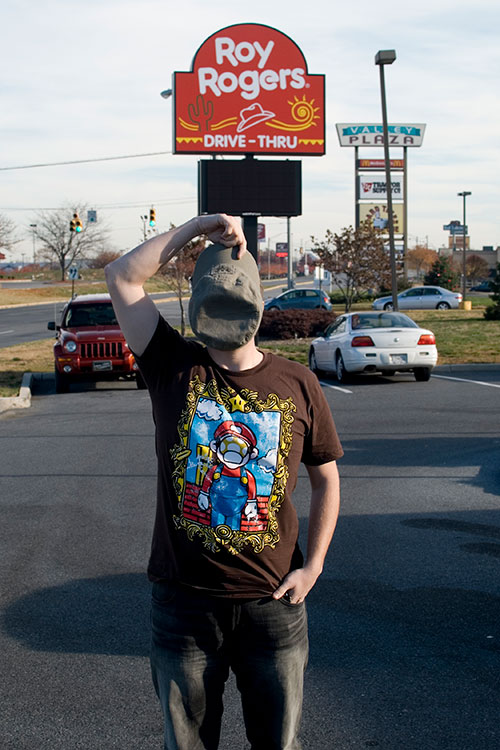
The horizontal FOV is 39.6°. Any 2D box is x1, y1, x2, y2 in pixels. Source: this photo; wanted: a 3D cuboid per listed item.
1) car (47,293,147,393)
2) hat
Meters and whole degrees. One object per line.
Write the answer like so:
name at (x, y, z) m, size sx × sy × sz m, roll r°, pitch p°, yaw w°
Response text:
car at (-3.354, -0.732, 15.645) m, size 2.036 × 1.749 × 3.550 m, roll -2°, pitch 0°, yaw -6°
hat at (-0.062, -0.173, 1.647) m, size 0.177 × 0.257 × 0.077 m, roll 5°, pitch 7°, yaw 10°
